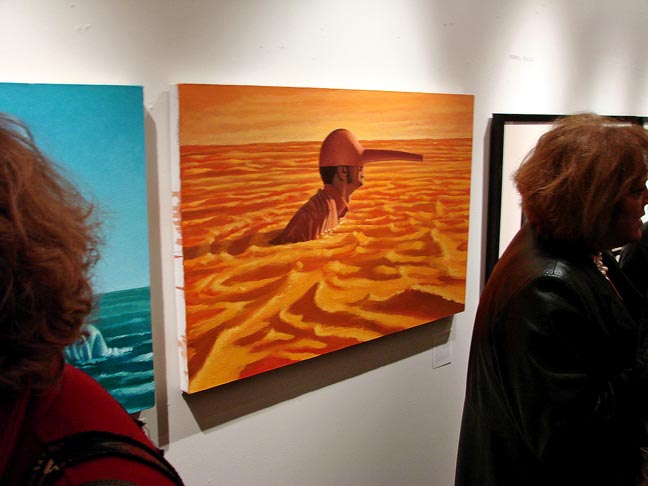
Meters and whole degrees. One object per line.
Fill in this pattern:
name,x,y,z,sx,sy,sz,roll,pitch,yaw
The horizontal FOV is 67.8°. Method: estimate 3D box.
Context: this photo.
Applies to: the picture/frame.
picture/frame,1.034,-0.173,2.055,0.982,0.677,0.043,-5,6,-25
